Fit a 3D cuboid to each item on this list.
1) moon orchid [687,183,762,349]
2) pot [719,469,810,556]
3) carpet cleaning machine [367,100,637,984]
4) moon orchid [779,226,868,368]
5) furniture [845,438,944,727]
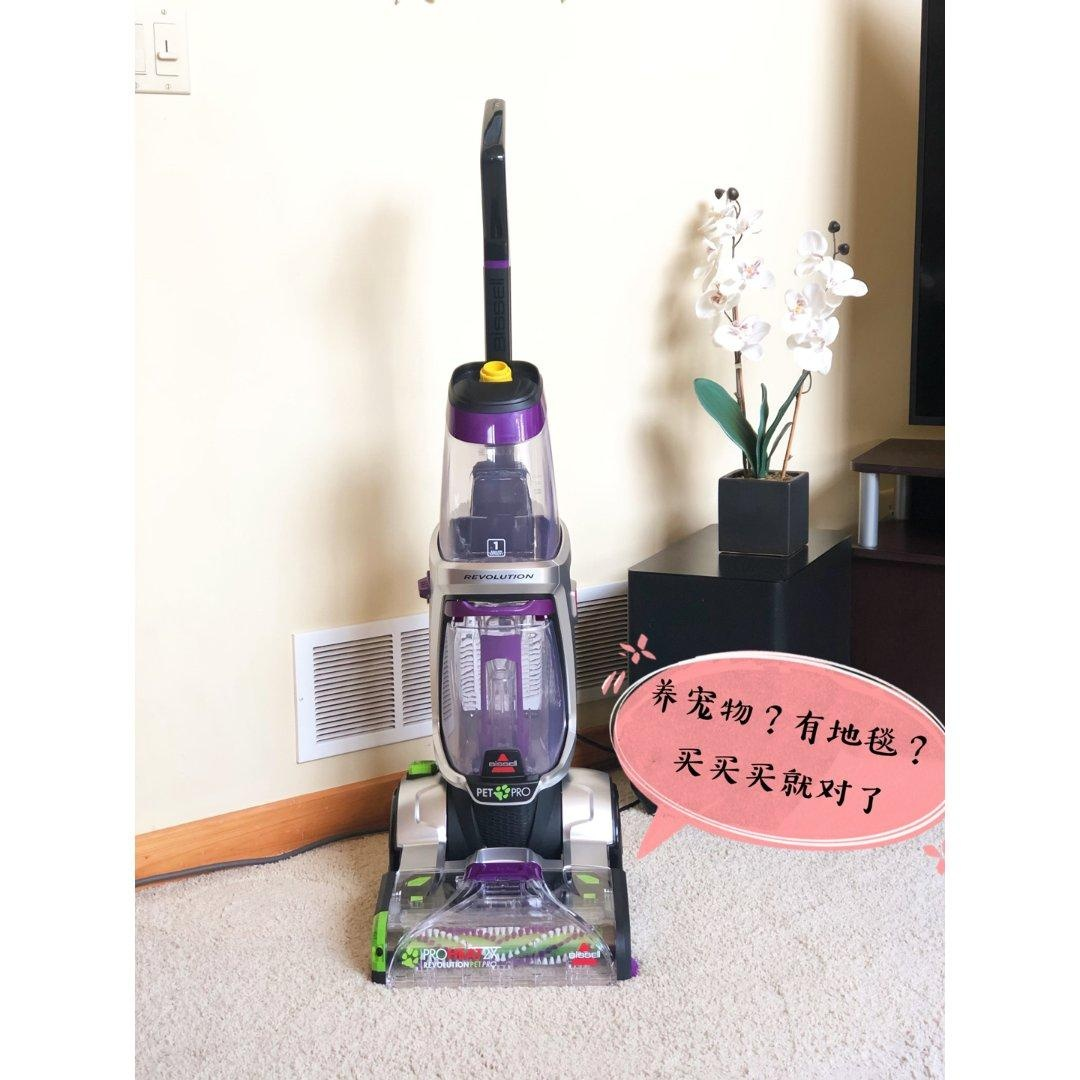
[{"bbox_3d":[0.322,-0.413,1.785,0.073,0.314,0.127,-14,24,-32],"label":"moon orchid"},{"bbox_3d":[0.373,-0.045,1.809,0.149,0.131,0.135,-2,15,0],"label":"pot"},{"bbox_3d":[-0.059,-0.041,1.373,0.314,1.041,0.531,-2,9,-1],"label":"carpet cleaning machine"},{"bbox_3d":[0.450,-0.376,1.792,0.147,0.365,0.144,4,17,12],"label":"moon orchid"},{"bbox_3d":[0.660,0.048,2.012,0.168,0.426,0.386,3,15,17],"label":"furniture"}]
